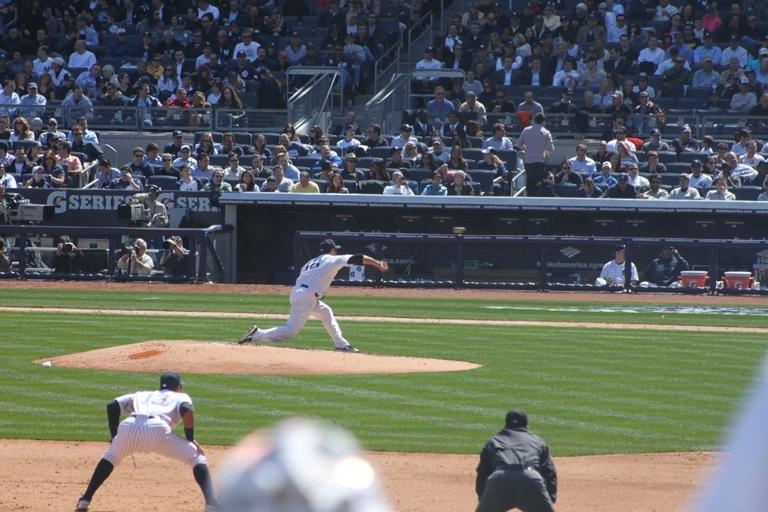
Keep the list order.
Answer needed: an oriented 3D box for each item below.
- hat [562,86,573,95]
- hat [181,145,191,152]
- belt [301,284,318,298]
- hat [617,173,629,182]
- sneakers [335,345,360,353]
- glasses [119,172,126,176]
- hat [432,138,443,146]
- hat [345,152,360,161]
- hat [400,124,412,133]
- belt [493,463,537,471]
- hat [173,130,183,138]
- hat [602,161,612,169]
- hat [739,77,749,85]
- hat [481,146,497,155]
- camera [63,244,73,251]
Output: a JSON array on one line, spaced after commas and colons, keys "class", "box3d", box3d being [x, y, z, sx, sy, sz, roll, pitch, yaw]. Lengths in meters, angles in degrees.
[{"class": "hat", "box3d": [5.022, -4.469, 63.934, 0.227, 0.242, 0.277, -1, 0, -26]}, {"class": "hat", "box3d": [-5.295, -2.894, 63.302, 0.247, 0.125, 0.384, 3, 0, -14]}, {"class": "belt", "box3d": [-1.706, 0.794, 54.979, 0.331, 0.122, 0.240, 34, -8, -31]}, {"class": "hat", "box3d": [6.203, -2.043, 61.135, 0.178, 0.145, 0.192, 11, -1, 40]}, {"class": "sneakers", "box3d": [-0.835, 2.144, 55.485, 0.575, 0.216, 0.196, 1, 1, -3]}, {"class": "glasses", "box3d": [-6.899, -2.201, 62.567, 0.114, 0.110, 0.037, 3, 5, 8]}, {"class": "hat", "box3d": [1.434, -3.022, 62.582, 0.239, 0.122, 0.384, -1, 1, 10]}, {"class": "hat", "box3d": [-0.835, -2.648, 62.832, 0.284, 0.193, 0.345, -1, 1, -1]}, {"class": "hat", "box3d": [0.570, -3.422, 63.302, 0.221, 0.162, 0.310, -1, 2, -43]}, {"class": "belt", "box3d": [2.725, 4.325, 48.970, 0.774, 0.147, 0.065, 3, 2, -1]}, {"class": "hat", "box3d": [-5.586, -3.319, 64.256, 0.218, 0.114, 0.306, 0, 3, -18]}, {"class": "hat", "box3d": [5.882, -2.400, 62.038, 0.223, 0.110, 0.351, 1, 0, 5]}, {"class": "hat", "box3d": [9.750, -4.729, 63.820, 0.239, 0.249, 0.594, 3, 2, 6]}, {"class": "hat", "box3d": [2.819, -2.796, 62.604, 0.261, 0.144, 0.390, 3, 4, -7]}, {"class": "camera", "box3d": [-8.208, -0.255, 61.896, 0.204, 0.219, 0.163, 3, 2, -9]}]
